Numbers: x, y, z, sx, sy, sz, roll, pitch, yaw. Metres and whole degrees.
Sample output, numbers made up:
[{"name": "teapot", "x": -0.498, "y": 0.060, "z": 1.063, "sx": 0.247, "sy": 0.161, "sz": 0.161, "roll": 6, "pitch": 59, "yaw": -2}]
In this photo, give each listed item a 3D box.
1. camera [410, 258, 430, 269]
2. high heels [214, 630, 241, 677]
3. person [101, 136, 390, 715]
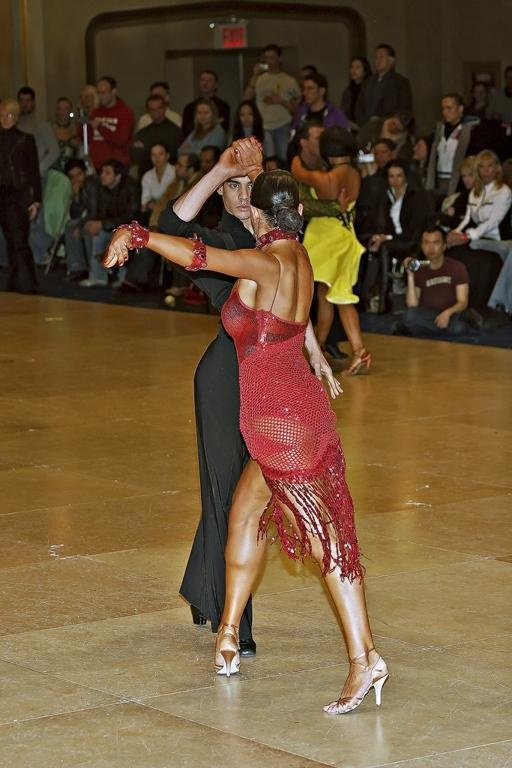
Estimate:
[{"name": "camera", "x": 2.028, "y": -1.490, "z": 9.318, "sx": 0.202, "sy": 0.082, "sz": 0.147, "roll": -2, "pitch": 3, "yaw": -32}, {"name": "high heels", "x": -0.068, "y": 0.739, "z": 2.061, "sx": 0.058, "sy": 0.067, "sz": 0.158, "roll": -3, "pitch": 5, "yaw": 0}, {"name": "person", "x": 0.002, "y": 0.123, "z": 1.936, "sx": 0.615, "sy": 1.408, "sz": 0.515, "roll": -3, "pitch": 3, "yaw": -10}]
